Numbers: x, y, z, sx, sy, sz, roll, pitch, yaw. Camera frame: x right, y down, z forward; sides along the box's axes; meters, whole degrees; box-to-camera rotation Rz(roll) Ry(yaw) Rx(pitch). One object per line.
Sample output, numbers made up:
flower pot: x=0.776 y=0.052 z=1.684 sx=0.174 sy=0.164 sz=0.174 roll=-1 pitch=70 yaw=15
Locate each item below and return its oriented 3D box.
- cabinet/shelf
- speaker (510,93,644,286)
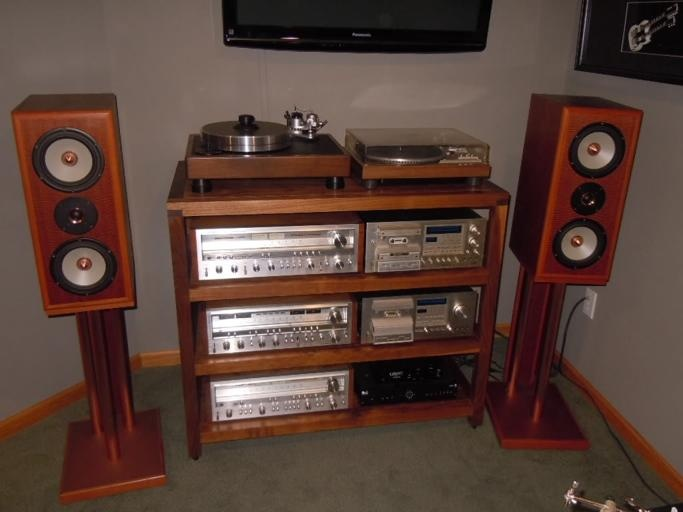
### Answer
cabinet/shelf: x=-0.030 y=0.223 z=2.412 sx=1.119 sy=0.991 sz=0.500 roll=-3 pitch=25 yaw=-8
speaker: x=0.973 y=-0.274 z=2.425 sx=0.366 sy=0.805 sz=0.417 roll=-2 pitch=14 yaw=3
